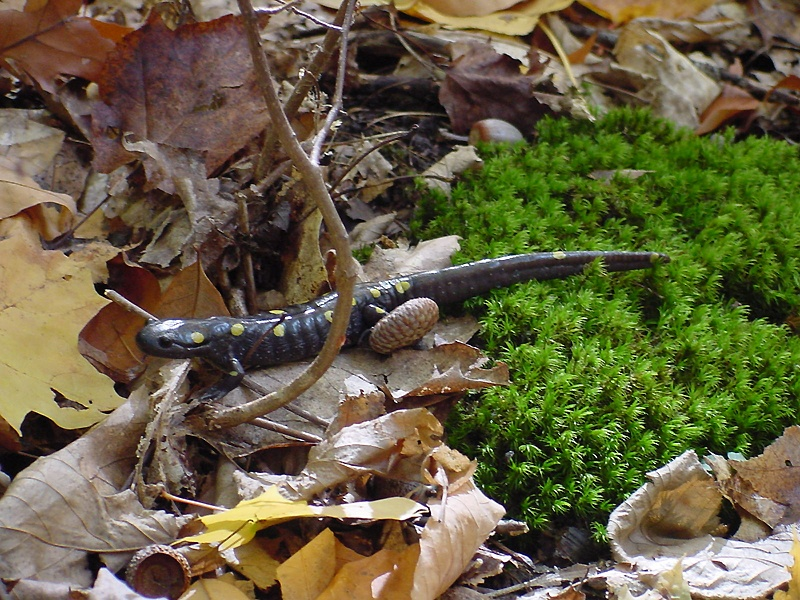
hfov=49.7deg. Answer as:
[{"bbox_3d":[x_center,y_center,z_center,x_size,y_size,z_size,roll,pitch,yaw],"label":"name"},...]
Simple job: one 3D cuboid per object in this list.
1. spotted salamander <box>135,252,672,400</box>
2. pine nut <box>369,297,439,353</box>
[{"bbox_3d":[-0.079,0.044,4.531,2.462,0.413,0.509,-14,46,-24],"label":"spotted salamander"},{"bbox_3d":[0.015,0.126,4.359,0.308,0.331,0.143,-25,87,-4],"label":"pine nut"}]
